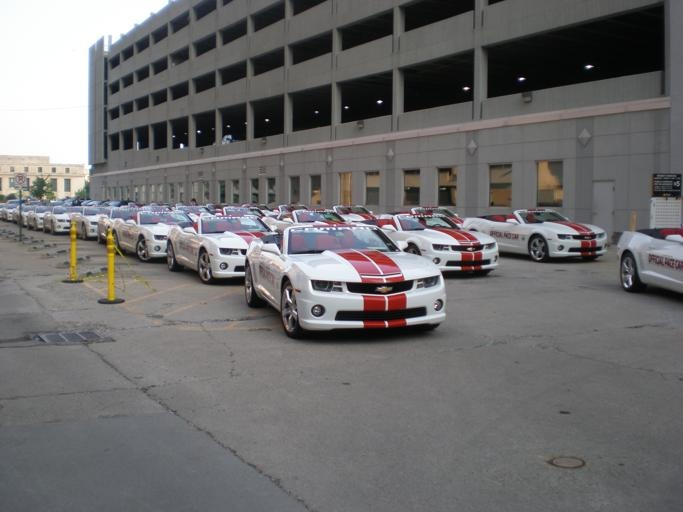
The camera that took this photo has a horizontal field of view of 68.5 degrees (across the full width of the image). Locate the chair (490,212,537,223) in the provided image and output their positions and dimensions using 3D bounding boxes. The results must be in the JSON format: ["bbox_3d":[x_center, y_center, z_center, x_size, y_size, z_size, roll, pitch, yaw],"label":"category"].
[{"bbox_3d":[6.614,-1.480,19.174,0.701,0.387,1.014,-5,4,-37],"label":"chair"}]
